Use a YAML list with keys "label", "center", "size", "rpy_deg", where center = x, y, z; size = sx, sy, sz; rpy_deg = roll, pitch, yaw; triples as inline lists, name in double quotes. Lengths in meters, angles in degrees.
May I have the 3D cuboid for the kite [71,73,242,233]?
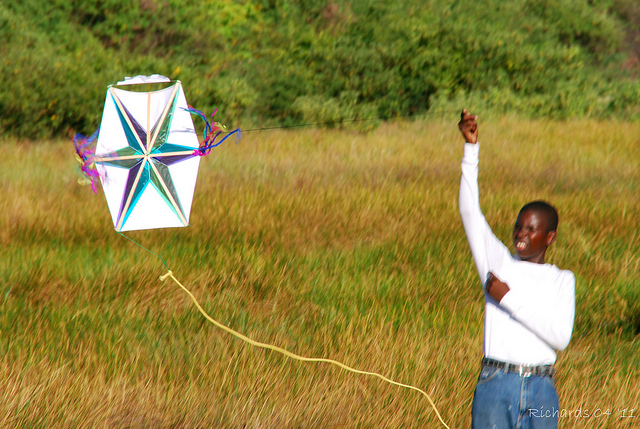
- label: "kite"
  center: [-2.624, -0.938, 19.369]
  size: [2.110, 2.826, 0.909]
  rpy_deg: [3, 14, -15]
